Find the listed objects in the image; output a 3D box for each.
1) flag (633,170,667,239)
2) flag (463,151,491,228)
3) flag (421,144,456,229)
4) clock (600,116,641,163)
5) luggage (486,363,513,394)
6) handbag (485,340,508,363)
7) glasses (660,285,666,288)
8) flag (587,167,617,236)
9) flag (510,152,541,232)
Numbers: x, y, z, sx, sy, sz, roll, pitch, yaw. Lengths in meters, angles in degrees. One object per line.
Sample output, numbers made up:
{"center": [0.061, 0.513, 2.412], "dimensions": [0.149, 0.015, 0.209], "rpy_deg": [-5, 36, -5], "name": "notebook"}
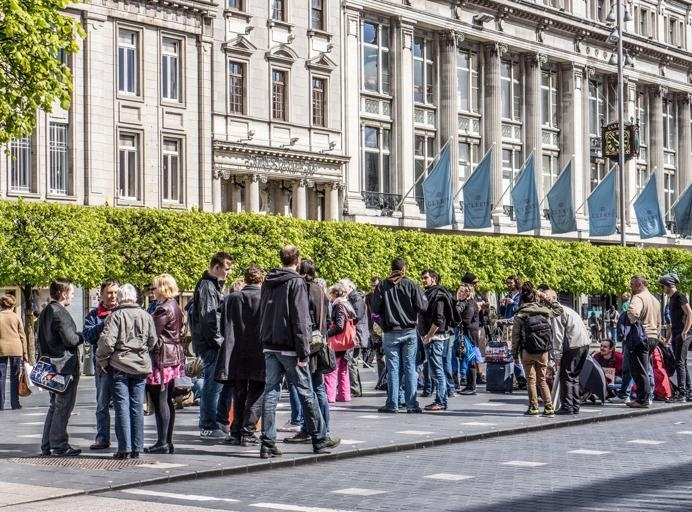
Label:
{"center": [12.445, -1.849, 59.022], "dimensions": [0.643, 3.540, 1.140], "rpy_deg": [2, 2, 21], "name": "flag"}
{"center": [5.035, -2.517, 54.519], "dimensions": [0.248, 2.907, 1.010], "rpy_deg": [2, 0, -42], "name": "flag"}
{"center": [3.424, -2.568, 53.432], "dimensions": [1.021, 2.905, 0.638], "rpy_deg": [-1, -5, -5], "name": "flag"}
{"center": [10.836, -4.601, 57.222], "dimensions": [0.913, 2.378, 1.448], "rpy_deg": [-2, 1, -37], "name": "clock"}
{"center": [3.592, 2.804, 33.681], "dimensions": [0.624, 0.721, 0.499], "rpy_deg": [-2, -5, 7], "name": "luggage"}
{"center": [3.494, 2.196, 33.306], "dimensions": [0.454, 0.464, 0.260], "rpy_deg": [-3, -13, 25], "name": "handbag"}
{"center": [7.003, 0.636, 31.826], "dimensions": [0.098, 0.088, 0.114], "rpy_deg": [-1, -5, 8], "name": "glasses"}
{"center": [10.387, -1.986, 57.743], "dimensions": [0.384, 3.199, 0.841], "rpy_deg": [1, -1, -39], "name": "flag"}
{"center": [6.958, -2.504, 56.021], "dimensions": [1.035, 3.041, 1.429], "rpy_deg": [-2, -5, 7], "name": "flag"}
